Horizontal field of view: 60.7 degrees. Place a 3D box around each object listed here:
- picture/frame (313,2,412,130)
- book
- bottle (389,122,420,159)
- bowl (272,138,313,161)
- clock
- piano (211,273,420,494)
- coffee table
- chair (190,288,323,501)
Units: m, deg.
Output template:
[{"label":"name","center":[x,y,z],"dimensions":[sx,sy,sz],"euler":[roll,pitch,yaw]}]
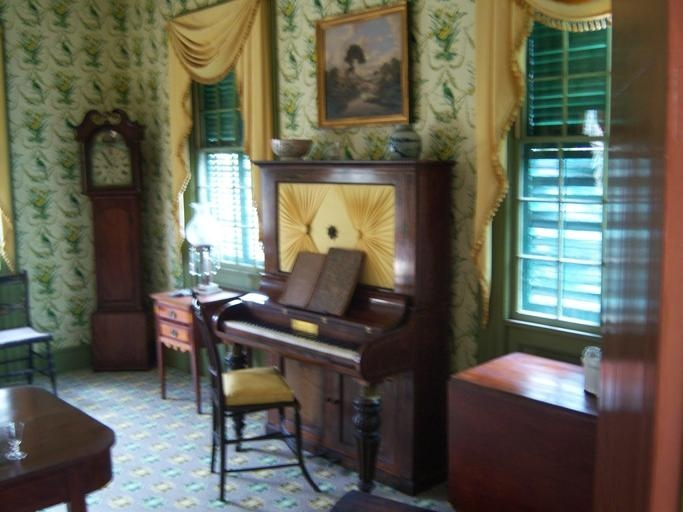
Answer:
[{"label":"picture/frame","center":[0.151,-1.188,3.583],"dimensions":[0.846,0.818,0.088],"euler":[1,3,43]},{"label":"book","center":[-0.107,0.142,3.411],"dimensions":[0.502,0.374,0.103],"euler":[10,-9,44]},{"label":"bottle","center":[0.347,-0.656,3.269],"dimensions":[0.175,0.280,0.185],"euler":[-3,-5,0]},{"label":"bowl","center":[-0.325,-0.696,3.790],"dimensions":[0.256,0.133,0.154],"euler":[-2,7,-6]},{"label":"clock","center":[-2.024,-0.128,5.259],"dimensions":[0.535,2.349,0.150],"euler":[-2,7,-6]},{"label":"piano","center":[-0.120,0.743,3.322],"dimensions":[0.384,1.071,1.036],"euler":[-1,5,-37]},{"label":"coffee table","center":[-1.243,0.688,4.614],"dimensions":[0.448,0.663,0.466],"euler":[10,5,34]},{"label":"chair","center":[-0.478,0.804,3.344],"dimensions":[0.686,1.034,0.608],"euler":[-3,6,-32]}]
